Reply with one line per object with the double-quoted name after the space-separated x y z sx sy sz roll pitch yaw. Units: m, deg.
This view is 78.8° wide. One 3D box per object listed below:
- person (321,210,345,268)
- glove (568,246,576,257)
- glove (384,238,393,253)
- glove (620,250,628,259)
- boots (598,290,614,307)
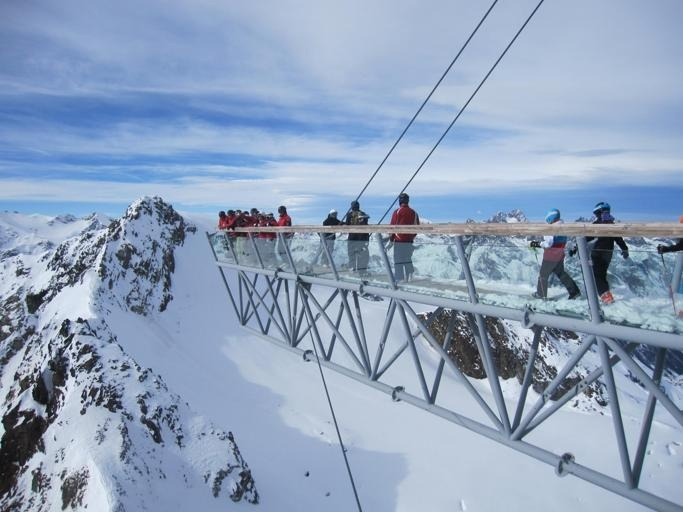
-0.410 -0.578 14.720 0.687 1.406 2.656 11 6 -3 "person"
5.202 -0.074 9.318 0.136 0.206 0.072 15 0 23 "glove"
1.404 -0.286 12.504 0.126 0.389 0.276 4 5 30 "glove"
6.133 -0.006 8.953 0.149 0.197 0.065 15 7 34 "glove"
5.826 0.967 9.077 0.194 0.260 0.260 -3 14 32 "boots"
